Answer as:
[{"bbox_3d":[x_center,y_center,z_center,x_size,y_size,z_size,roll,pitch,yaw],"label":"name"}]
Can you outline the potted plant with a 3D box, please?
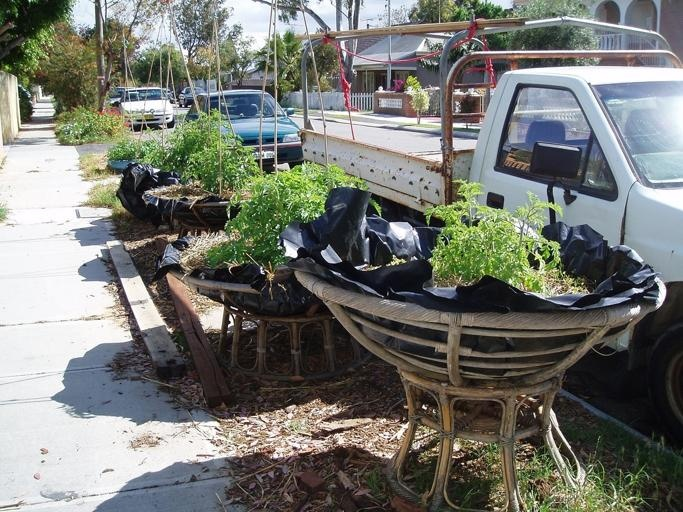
[{"bbox_3d":[-0.146,0.267,3.491,1.453,0.997,3.457,-5,11,-33],"label":"potted plant"}]
